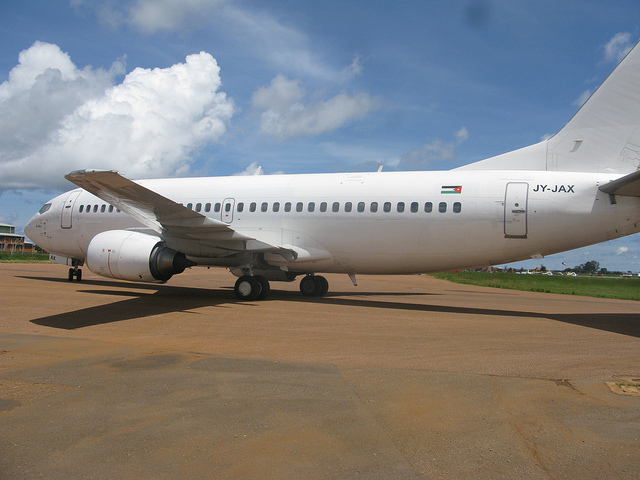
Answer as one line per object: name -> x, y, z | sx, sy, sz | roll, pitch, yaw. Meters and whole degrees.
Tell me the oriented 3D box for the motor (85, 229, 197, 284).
motor -> -6.234, 0.550, 14.856 | 3.248, 1.597, 0.823 | 2, -2, 12
